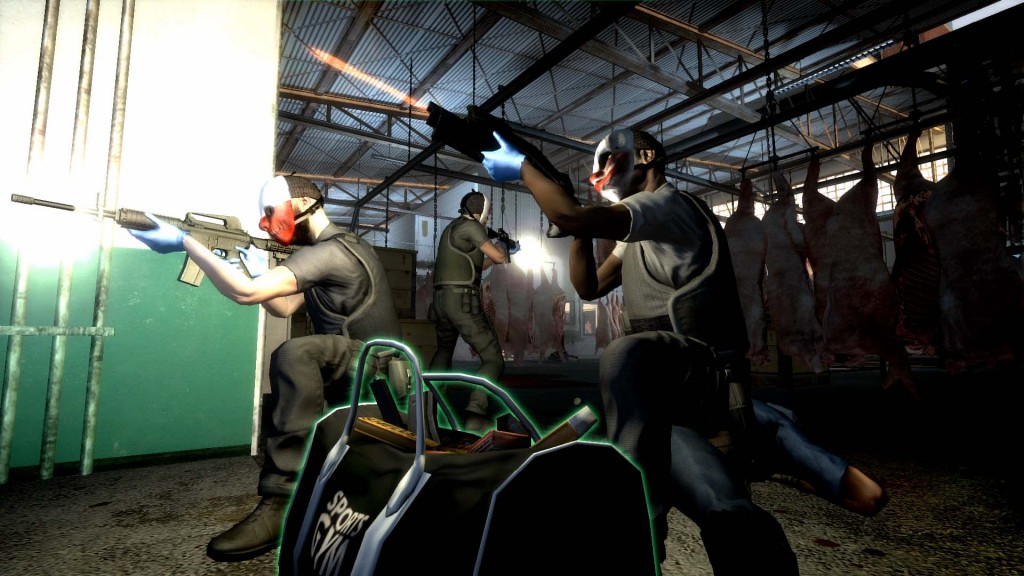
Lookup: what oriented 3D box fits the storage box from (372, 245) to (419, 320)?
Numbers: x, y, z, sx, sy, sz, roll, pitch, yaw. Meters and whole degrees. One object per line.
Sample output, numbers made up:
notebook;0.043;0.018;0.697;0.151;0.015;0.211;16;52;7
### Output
storage box;-1.638;-0.063;10.183;0.408;1.053;0.721;-6;-5;10
